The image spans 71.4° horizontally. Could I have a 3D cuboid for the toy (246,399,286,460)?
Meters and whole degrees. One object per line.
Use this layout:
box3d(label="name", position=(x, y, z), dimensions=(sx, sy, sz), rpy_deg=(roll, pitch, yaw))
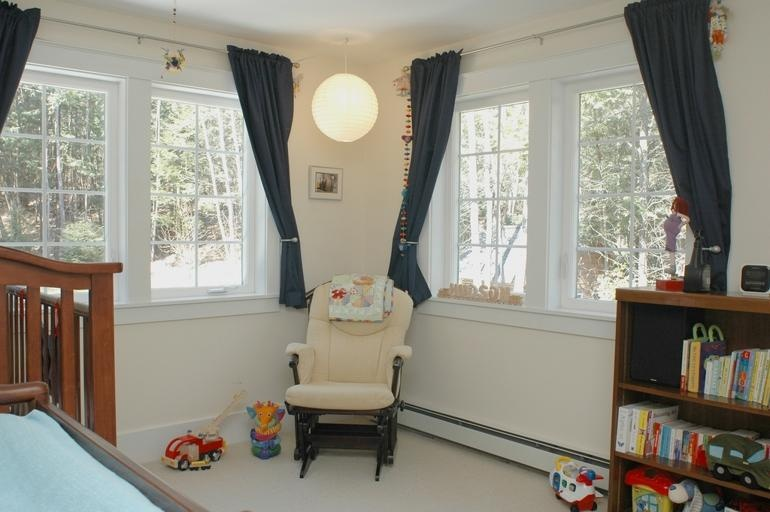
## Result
box3d(label="toy", position=(-0.915, 1.325, 4.149), dimensions=(0.248, 0.369, 0.247), rpy_deg=(-4, 12, -26))

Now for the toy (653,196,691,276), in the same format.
box3d(label="toy", position=(1.829, -0.134, 3.372), dimensions=(0.134, 0.499, 0.324), rpy_deg=(7, 12, 29))

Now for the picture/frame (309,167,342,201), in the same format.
box3d(label="picture/frame", position=(-0.546, -0.655, 4.736), dimensions=(0.313, 0.269, 0.026), rpy_deg=(2, -1, -36))

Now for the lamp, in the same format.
box3d(label="lamp", position=(-0.309, -1.140, 4.074), dimensions=(0.514, 0.545, 0.473), rpy_deg=(-2, 13, -20))

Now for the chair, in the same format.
box3d(label="chair", position=(-0.276, 0.872, 4.068), dimensions=(0.928, 1.293, 0.863), rpy_deg=(1, 10, 3))
